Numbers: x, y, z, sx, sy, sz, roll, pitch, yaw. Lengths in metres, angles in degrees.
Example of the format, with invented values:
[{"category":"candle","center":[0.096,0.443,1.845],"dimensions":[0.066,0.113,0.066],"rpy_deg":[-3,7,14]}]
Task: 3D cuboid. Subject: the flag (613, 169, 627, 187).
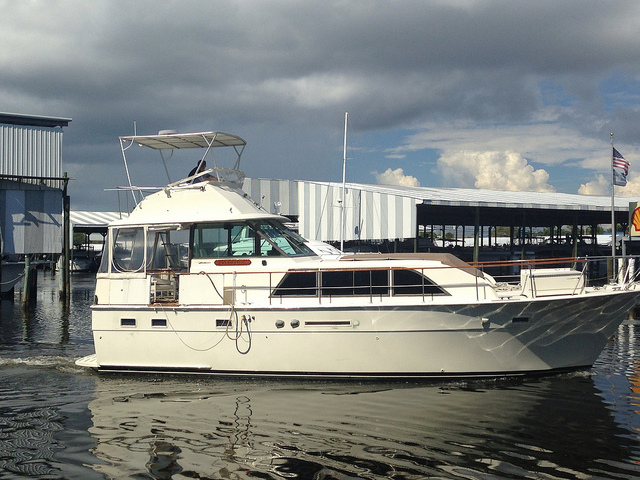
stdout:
[{"category":"flag","center":[11.174,-2.323,33.844],"dimensions":[0.438,0.634,0.501],"rpy_deg":[-8,4,18]}]
